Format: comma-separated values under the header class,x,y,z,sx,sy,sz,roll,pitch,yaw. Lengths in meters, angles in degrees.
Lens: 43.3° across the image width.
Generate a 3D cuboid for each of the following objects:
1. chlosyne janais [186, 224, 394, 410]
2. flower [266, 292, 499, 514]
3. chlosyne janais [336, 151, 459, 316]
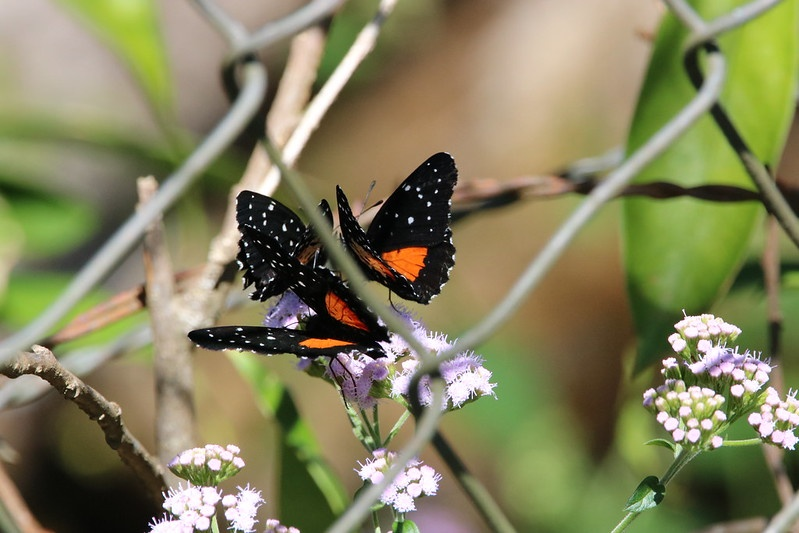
class,x,y,z,sx,sy,sz,roll,pitch,yaw
chlosyne janais,-0.187,0.123,1.679,0.272,0.157,0.288,14,-18,-13
flower,-0.038,0.184,1.765,0.391,0.347,0.205,-18,-56,-49
chlosyne janais,-0.028,-0.071,1.927,0.251,0.272,0.279,7,-85,-44
